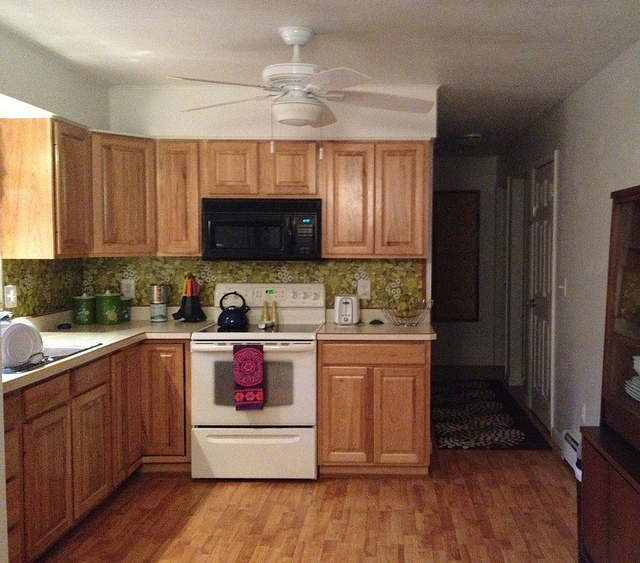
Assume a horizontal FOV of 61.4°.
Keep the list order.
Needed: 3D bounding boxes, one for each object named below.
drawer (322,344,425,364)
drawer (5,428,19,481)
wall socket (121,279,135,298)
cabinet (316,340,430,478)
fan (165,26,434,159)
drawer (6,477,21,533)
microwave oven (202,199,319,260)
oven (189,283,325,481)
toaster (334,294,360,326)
[{"bbox_3d":[0.342,0.461,3.461,0.641,0.110,0.039,0,5,6],"label":"drawer"},{"bbox_3d":[-1.330,0.740,2.333,0.026,0.218,0.086,-1,5,-7],"label":"drawer"},{"bbox_3d":[-1.443,0.048,4.025,0.113,0.121,0.028,-3,0,-1],"label":"wall socket"},{"bbox_3d":[0.394,0.962,3.769,0.777,0.964,0.730,5,-34,-2],"label":"cabinet"},{"bbox_3d":[0.006,-0.995,2.762,0.759,0.396,0.833,2,-5,-18],"label":"fan"},{"bbox_3d":[-1.321,0.959,2.326,0.026,0.221,0.097,-1,5,-8],"label":"drawer"},{"bbox_3d":[-0.393,-0.376,3.889,0.839,0.442,0.425,0,9,-1],"label":"microwave oven"},{"bbox_3d":[-0.398,0.624,3.799,0.871,1.220,0.835,0,4,-2],"label":"oven"},{"bbox_3d":[0.187,0.202,3.737,0.182,0.219,0.191,0,-5,3],"label":"toaster"}]
